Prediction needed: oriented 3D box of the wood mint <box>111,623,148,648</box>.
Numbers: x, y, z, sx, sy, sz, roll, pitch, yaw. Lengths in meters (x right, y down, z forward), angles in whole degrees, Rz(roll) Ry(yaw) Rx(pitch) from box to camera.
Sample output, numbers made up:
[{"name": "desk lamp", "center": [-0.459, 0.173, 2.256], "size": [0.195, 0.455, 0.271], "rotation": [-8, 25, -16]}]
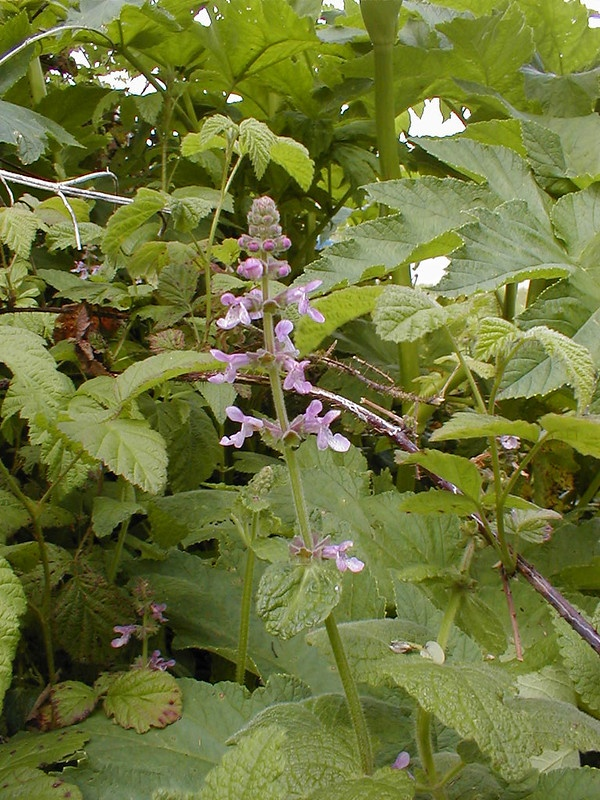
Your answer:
[{"name": "wood mint", "center": [-0.291, 0.403, 1.348], "size": [0.059, 0.059, 0.045], "rotation": [-1, 36, -6]}]

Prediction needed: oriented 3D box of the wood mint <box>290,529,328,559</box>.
[{"name": "wood mint", "center": [0.011, 0.152, 0.849], "size": [0.032, 0.015, 0.027], "rotation": [15, 23, 39]}]
